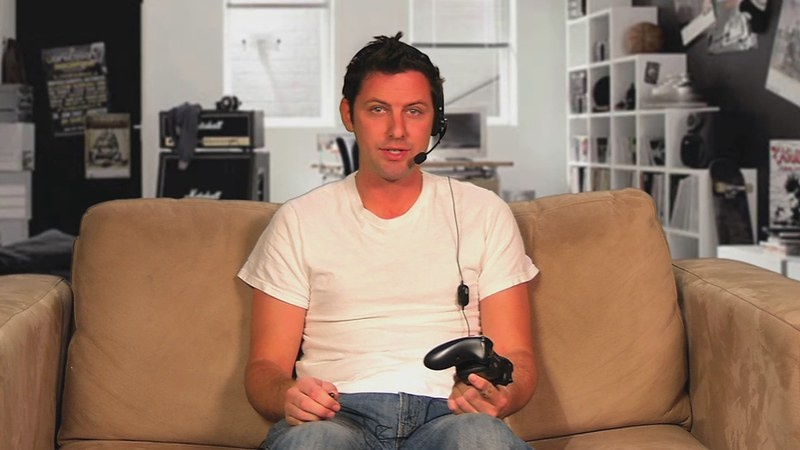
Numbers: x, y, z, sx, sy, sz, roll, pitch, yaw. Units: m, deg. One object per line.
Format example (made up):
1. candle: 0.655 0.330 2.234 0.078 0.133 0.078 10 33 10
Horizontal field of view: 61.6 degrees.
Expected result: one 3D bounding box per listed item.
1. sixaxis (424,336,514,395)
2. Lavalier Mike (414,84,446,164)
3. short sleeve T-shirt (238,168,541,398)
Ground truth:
1. sixaxis: 0.272 0.504 2.689 0.388 0.179 0.350 2 10 8
2. Lavalier Mike: 0.127 -0.445 2.921 0.135 0.460 0.121 1 -2 3
3. short sleeve T-shirt: -0.130 0.262 3.038 0.969 0.952 0.828 2 2 -25
